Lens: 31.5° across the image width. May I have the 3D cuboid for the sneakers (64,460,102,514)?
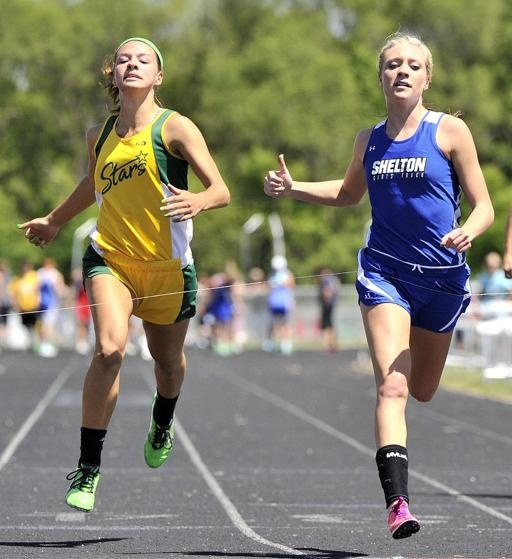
[{"bbox_3d":[-0.691,0.852,3.716,0.136,0.110,0.259,22,16,-16],"label":"sneakers"}]

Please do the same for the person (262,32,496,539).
[{"bbox_3d":[0.644,-0.012,3.670,0.703,1.915,1.208,3,1,-22],"label":"person"}]

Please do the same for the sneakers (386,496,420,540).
[{"bbox_3d":[0.491,0.834,3.140,0.070,0.083,0.188,-31,-4,-7],"label":"sneakers"}]

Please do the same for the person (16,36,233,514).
[{"bbox_3d":[-0.530,-0.050,3.877,0.726,1.643,0.991,3,1,-13],"label":"person"}]
